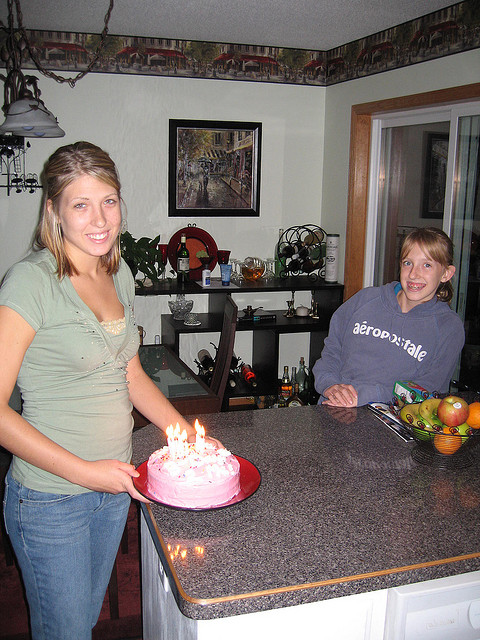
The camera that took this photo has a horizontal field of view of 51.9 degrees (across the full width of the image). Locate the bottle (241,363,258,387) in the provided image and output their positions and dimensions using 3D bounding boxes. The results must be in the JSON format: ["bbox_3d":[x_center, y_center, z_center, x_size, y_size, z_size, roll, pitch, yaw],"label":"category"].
[{"bbox_3d":[0.069,0.457,4.190,0.072,0.068,0.247,-31,23,4],"label":"bottle"}]

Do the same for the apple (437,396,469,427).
[{"bbox_3d":[0.498,0.209,1.190,0.068,0.069,0.068,-4,16,-14],"label":"apple"}]

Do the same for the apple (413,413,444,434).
[{"bbox_3d":[0.458,0.255,1.225,0.058,0.037,0.079,-4,10,-35],"label":"apple"}]

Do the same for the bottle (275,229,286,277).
[{"bbox_3d":[0.364,-0.600,4.420,0.091,0.428,0.177,1,8,-3],"label":"bottle"}]

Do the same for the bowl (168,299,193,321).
[{"bbox_3d":[-0.480,-0.084,4.042,0.167,0.138,0.168,-1,6,0],"label":"bowl"}]

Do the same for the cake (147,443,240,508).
[{"bbox_3d":[-0.099,0.308,1.016,0.186,0.070,0.223,-1,8,-17],"label":"cake"}]

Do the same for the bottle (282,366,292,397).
[{"bbox_3d":[0.407,0.527,4.269,0.074,0.246,0.173,2,8,5],"label":"bottle"}]

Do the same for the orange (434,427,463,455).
[{"bbox_3d":[0.503,0.290,1.214,0.058,0.074,0.074,-2,6,2],"label":"orange"}]

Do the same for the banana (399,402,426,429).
[{"bbox_3d":[0.445,0.240,1.260,0.045,0.015,0.046,23,27,35],"label":"banana"}]

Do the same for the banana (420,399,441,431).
[{"bbox_3d":[0.473,0.238,1.239,0.059,0.059,0.019,-4,-27,-41],"label":"banana"}]
